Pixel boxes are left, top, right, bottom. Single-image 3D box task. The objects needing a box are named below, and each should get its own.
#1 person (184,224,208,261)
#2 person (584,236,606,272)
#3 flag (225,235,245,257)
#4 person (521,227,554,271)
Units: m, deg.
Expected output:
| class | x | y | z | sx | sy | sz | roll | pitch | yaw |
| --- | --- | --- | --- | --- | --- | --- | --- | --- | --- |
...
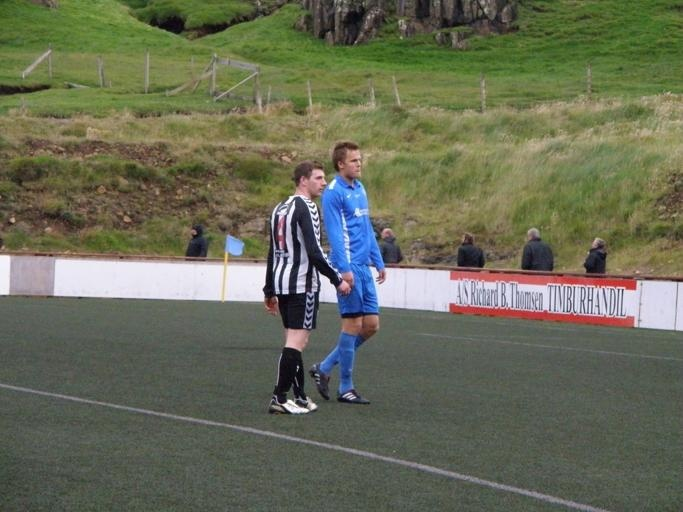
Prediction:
| class | x | y | z | sx | sy | sz | roll | pitch | yaw |
| --- | --- | --- | --- | --- | --- | --- | --- | --- | --- |
| person | -6.050 | -0.654 | 51.930 | 0.890 | 1.572 | 0.702 | 22 | 29 | 31 |
| person | 9.821 | -0.027 | 48.715 | 0.768 | 1.338 | 1.788 | 2 | 2 | 10 |
| flag | -4.312 | -0.428 | 50.031 | 0.816 | 1.006 | 0.879 | -2 | 5 | 31 |
| person | 7.542 | -0.265 | 48.663 | 1.147 | 1.552 | 0.690 | 2 | 2 | 5 |
